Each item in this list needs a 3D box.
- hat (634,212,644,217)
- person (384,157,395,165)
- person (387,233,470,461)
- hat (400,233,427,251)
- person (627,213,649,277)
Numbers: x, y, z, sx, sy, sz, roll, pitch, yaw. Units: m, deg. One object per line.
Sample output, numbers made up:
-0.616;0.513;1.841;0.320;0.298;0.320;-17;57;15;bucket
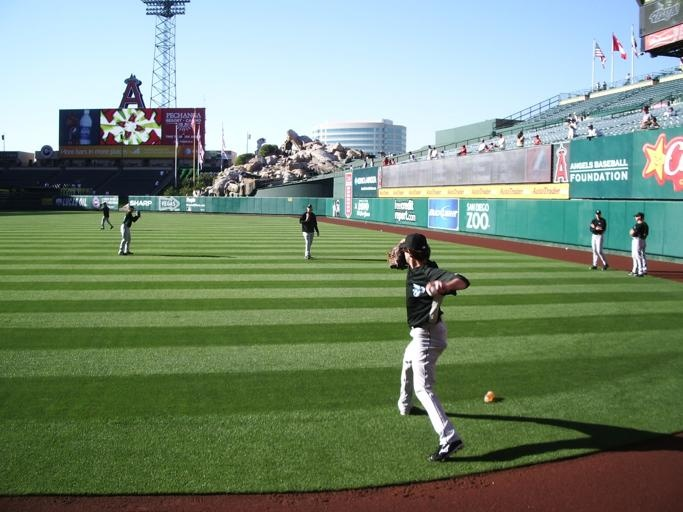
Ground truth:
8.478;-1.154;20.560;0.324;0.130;0.432;3;8;27;hat
3.823;-7.429;57.228;1.211;0.691;1.726;-1;4;1;person
0.988;1.038;8.560;0.609;2.573;1.214;-1;7;-22;person
0.866;-0.149;8.556;0.325;0.218;0.304;1;6;1;hat
8.125;-0.346;19.615;0.447;1.611;2.366;4;7;23;person
